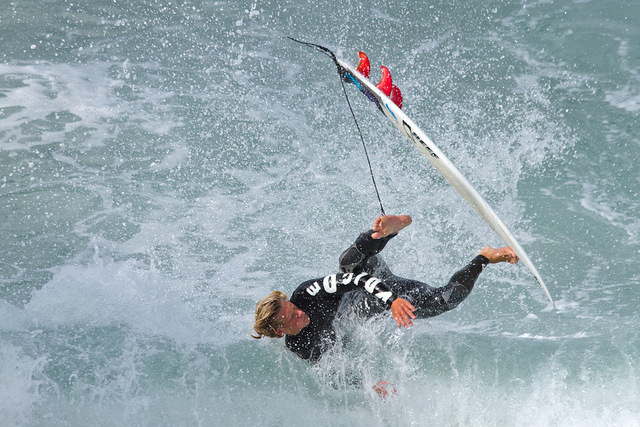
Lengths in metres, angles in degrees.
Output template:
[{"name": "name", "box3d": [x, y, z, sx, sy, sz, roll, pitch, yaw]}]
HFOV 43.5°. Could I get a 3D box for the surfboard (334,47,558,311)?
[{"name": "surfboard", "box3d": [2.312, -0.677, 13.788, 0.647, 0.830, 5.471, -39, 89, -29]}]
